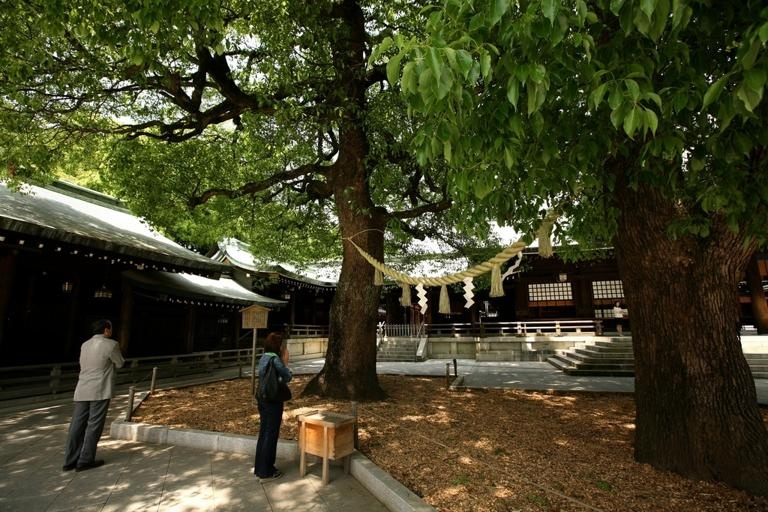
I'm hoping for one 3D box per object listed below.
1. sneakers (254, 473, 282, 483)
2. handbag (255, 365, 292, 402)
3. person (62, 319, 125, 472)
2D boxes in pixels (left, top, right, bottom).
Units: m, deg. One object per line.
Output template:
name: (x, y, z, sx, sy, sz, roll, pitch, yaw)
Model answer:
sneakers: (-1.753, 3.333, 7.313, 0.360, 0.150, 0.134, 0, -5, -21)
handbag: (-1.700, 1.938, 7.323, 0.498, 0.592, 0.189, -1, 1, -17)
person: (-4.812, 2.228, 7.839, 0.858, 2.303, 0.572, -1, 1, -36)
